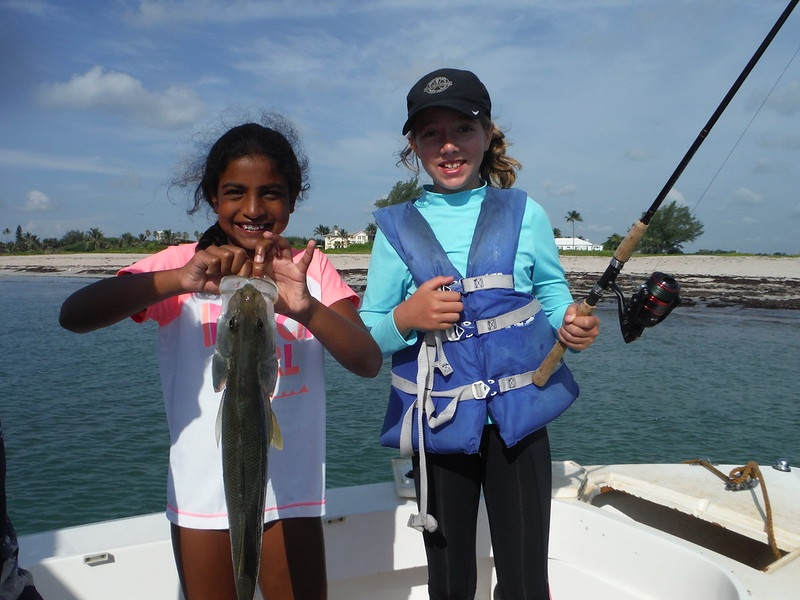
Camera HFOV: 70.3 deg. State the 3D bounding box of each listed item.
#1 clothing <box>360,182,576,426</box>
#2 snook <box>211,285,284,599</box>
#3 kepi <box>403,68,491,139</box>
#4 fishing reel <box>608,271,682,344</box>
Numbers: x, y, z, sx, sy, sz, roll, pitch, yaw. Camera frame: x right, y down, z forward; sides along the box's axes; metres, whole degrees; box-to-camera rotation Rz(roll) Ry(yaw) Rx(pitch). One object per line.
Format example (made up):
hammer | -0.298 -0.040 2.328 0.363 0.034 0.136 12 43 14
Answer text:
clothing | 0.390 0.007 3.438 1.512 1.559 0.831 -4 -2 -8
snook | -0.508 0.551 2.219 0.245 1.209 0.354 0 6 -3
kepi | 0.230 -1.128 3.127 0.464 0.335 0.603 -9 9 -3
fishing reel | 1.339 0.014 3.137 0.290 0.205 0.429 15 23 -34
